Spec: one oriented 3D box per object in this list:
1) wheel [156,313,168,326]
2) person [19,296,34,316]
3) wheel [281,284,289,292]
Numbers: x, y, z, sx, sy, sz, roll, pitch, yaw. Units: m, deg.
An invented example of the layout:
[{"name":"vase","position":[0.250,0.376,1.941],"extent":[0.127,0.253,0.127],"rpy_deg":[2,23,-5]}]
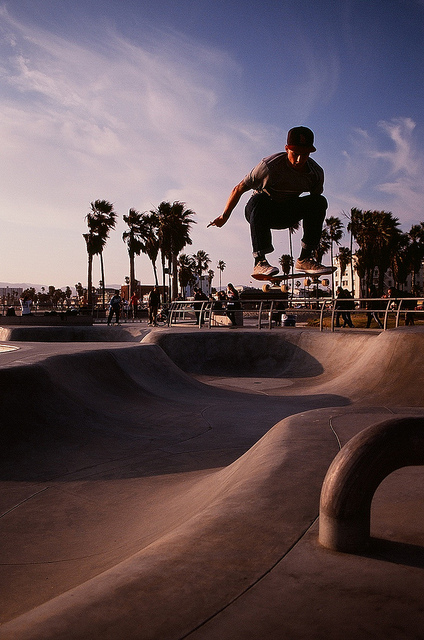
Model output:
[{"name":"wheel","position":[-2.419,-0.046,22.951],"extent":[0.628,0.699,0.197],"rpy_deg":[5,3,29]},{"name":"person","position":[-7.888,-0.615,21.030],"extent":[0.506,0.781,1.638],"rpy_deg":[-5,-1,-21]},{"name":"wheel","position":[2.127,-0.931,14.491],"extent":[0.190,0.202,0.194],"rpy_deg":[0,0,0]}]
